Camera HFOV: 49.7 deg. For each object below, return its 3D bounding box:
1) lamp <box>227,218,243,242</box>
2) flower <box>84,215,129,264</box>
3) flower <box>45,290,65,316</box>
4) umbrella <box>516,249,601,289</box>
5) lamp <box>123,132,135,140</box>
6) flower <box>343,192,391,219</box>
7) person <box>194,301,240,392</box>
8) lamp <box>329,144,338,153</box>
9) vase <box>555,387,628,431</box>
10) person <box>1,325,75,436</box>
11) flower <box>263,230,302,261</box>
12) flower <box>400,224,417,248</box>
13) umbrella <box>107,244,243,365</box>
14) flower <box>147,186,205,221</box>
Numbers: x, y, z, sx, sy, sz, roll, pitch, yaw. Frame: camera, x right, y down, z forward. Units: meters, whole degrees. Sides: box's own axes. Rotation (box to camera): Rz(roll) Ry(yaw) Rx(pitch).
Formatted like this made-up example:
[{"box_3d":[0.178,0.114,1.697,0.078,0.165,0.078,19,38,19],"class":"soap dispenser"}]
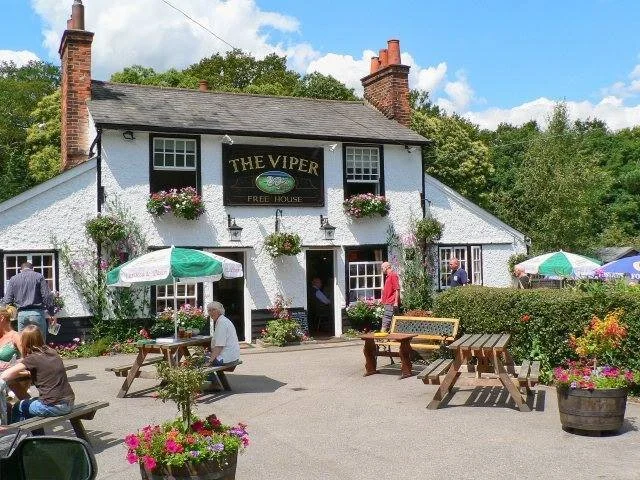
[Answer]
[{"box_3d":[-2.272,-0.271,18.916,0.392,0.661,0.358,-2,6,-7],"class":"lamp"},{"box_3d":[-5.289,-0.086,17.996,1.258,1.499,1.105,1,-8,-8],"class":"flower"},{"box_3d":[-6.026,1.446,15.836,0.745,0.575,0.777,4,-8,-24],"class":"flower"},{"box_3d":[6.811,0.727,19.817,2.249,0.714,1.113,1,6,22],"class":"umbrella"},{"box_3d":[-4.966,-2.721,18.193,0.227,0.282,0.203,0,-7,-7],"class":"lamp"},{"box_3d":[1.401,-1.003,20.142,0.886,0.600,0.871,0,-2,-38],"class":"flower"},{"box_3d":[-1.911,1.990,13.060,0.861,1.635,0.800,-3,-6,23],"class":"person"},{"box_3d":[0.407,-2.665,20.187,0.217,0.252,0.472,-1,5,4],"class":"lamp"},{"box_3d":[3.968,2.485,10.363,0.723,0.478,0.762,2,-14,-3],"class":"vase"},{"box_3d":[-3.902,1.870,9.698,0.892,1.398,0.375,1,6,18],"class":"person"},{"box_3d":[-1.038,0.161,19.133,0.760,0.556,0.775,-1,0,34],"class":"flower"},{"box_3d":[2.713,-0.113,20.912,0.538,0.789,0.551,-2,-3,30],"class":"flower"},{"box_3d":[-2.927,1.213,13.860,2.055,1.833,2.077,-1,-7,-4],"class":"umbrella"},{"box_3d":[-3.792,-0.942,18.283,0.948,0.621,1.059,0,0,27],"class":"flower"}]
